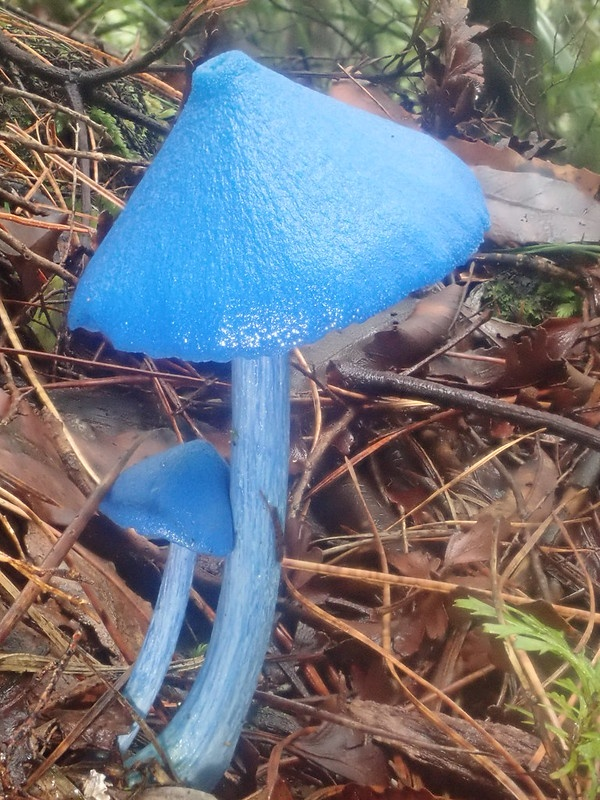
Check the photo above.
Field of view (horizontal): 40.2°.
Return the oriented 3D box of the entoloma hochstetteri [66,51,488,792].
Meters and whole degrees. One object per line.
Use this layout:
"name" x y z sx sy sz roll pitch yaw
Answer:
"entoloma hochstetteri" -0.127 0.065 2.242 1.103 1.825 1.012 5 17 15
